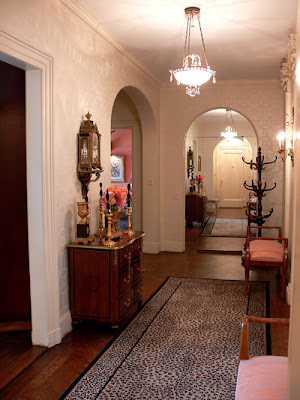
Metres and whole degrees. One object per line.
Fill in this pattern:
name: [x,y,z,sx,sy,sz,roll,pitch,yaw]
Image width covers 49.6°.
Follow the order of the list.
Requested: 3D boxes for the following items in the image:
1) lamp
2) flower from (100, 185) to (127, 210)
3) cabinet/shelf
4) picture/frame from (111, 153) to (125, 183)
lamp: [0.509,-1.800,3.922,0.623,0.965,0.607,-15,20,-42]
flower: [-0.405,-0.020,3.549,0.311,0.251,0.350,-1,2,-7]
cabinet/shelf: [-0.486,0.893,3.705,0.605,0.803,0.982,1,-3,1]
picture/frame: [-1.384,-1.339,13.900,0.562,1.170,0.339,-1,2,-1]
